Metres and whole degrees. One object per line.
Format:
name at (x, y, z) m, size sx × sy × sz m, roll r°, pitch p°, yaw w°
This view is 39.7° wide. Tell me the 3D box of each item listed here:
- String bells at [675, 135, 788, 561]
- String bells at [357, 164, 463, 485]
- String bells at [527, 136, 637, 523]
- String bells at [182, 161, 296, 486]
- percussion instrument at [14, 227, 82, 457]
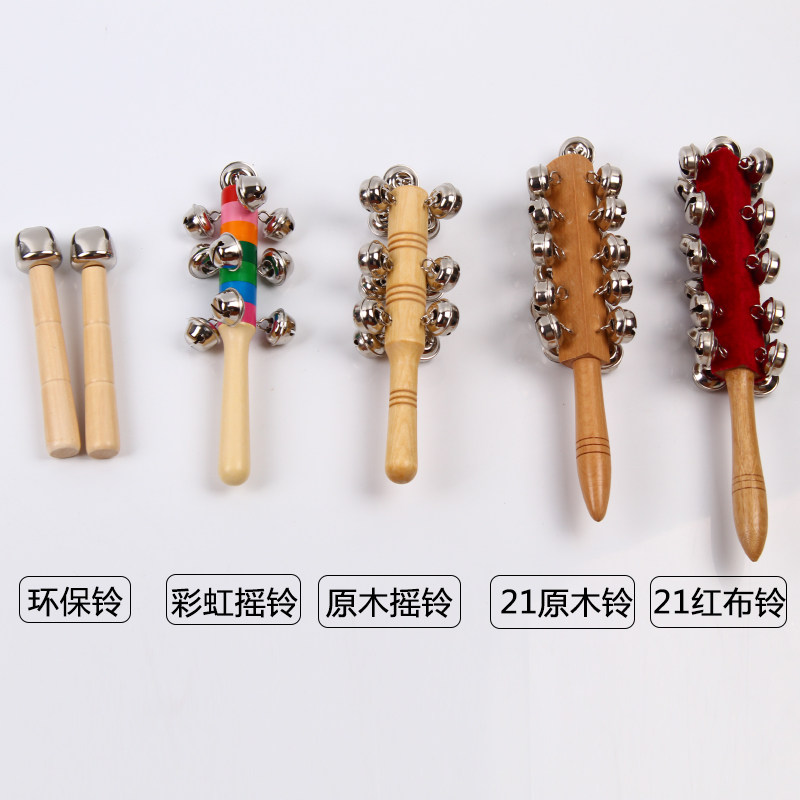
String bells at (0.495, -0.091, 1.638) m, size 0.156 × 0.697 × 0.126 m, roll -1°, pitch -30°, yaw 14°
String bells at (0.012, -0.119, 1.631) m, size 0.159 × 0.507 × 0.146 m, roll 0°, pitch -15°, yaw -3°
String bells at (0.271, -0.104, 1.629) m, size 0.147 × 0.577 × 0.125 m, roll -3°, pitch -15°, yaw 7°
String bells at (-0.244, -0.128, 1.629) m, size 0.156 × 0.493 × 0.122 m, roll 0°, pitch -11°, yaw -3°
percussion instrument at (-0.518, -0.089, 1.666) m, size 0.077 × 0.417 × 0.090 m, roll -6°, pitch -20°, yaw -11°
